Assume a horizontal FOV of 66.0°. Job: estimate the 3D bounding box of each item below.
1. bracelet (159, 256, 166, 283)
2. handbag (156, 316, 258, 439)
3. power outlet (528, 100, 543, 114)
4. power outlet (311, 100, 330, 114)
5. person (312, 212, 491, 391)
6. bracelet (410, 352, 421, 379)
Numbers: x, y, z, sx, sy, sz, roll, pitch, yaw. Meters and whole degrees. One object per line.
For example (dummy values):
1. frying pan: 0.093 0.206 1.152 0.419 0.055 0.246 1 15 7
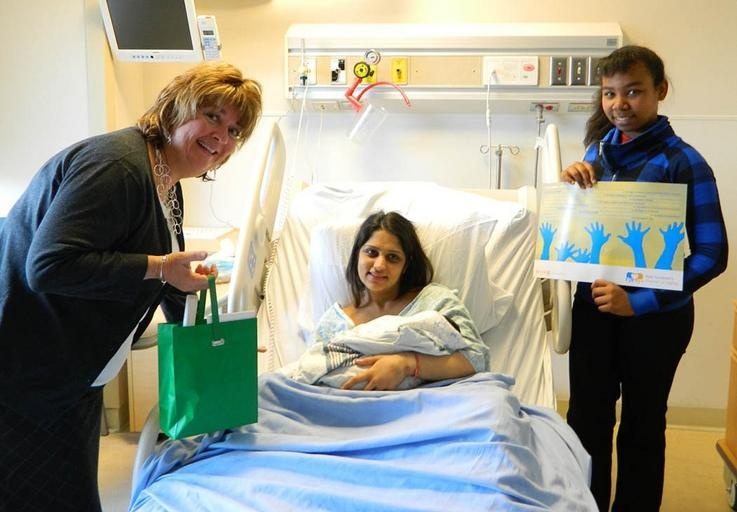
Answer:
1. bracelet: -0.627 0.038 1.712 0.016 0.060 0.045 4 7 -28
2. handbag: -0.480 0.356 1.698 0.334 0.381 0.133 -5 15 -19
3. power outlet: 0.998 -0.893 3.391 0.084 0.051 0.110 3 10 16
4. power outlet: -0.306 -0.932 3.539 0.109 0.054 0.116 -1 10 -4
5. person: 0.038 0.210 2.363 0.814 0.762 0.450 -14 -24 23
6. bracelet: 0.178 0.410 2.115 0.023 0.066 0.047 2 -3 -26
